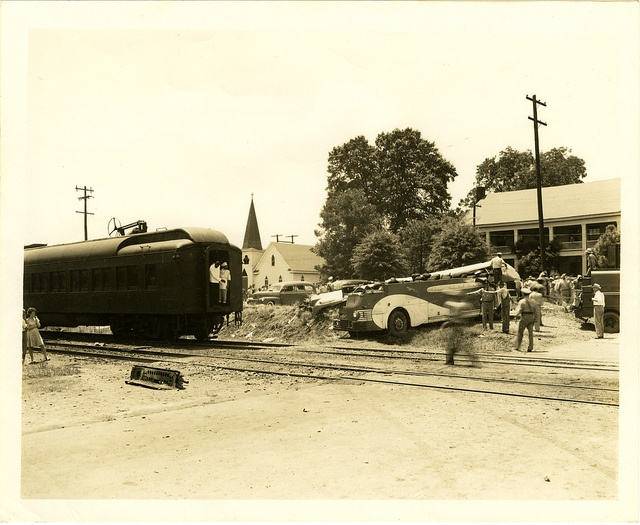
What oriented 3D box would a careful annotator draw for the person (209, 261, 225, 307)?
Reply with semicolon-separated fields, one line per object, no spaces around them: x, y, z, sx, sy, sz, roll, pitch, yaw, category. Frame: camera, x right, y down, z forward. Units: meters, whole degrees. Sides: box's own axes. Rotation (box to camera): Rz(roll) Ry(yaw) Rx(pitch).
-3.344;0.729;22.224;0.546;1.742;0.519;2;22;1;person

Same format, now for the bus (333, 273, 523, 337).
3.413;1.204;22.716;5.339;1.799;1.855;-8;5;-27;bus

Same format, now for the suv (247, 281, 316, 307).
-2.119;1.868;38.710;3.518;1.231;2.972;-3;7;-20;suv

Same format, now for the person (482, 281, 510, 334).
5.842;1.438;21.899;0.867;1.552;1.502;2;7;15;person

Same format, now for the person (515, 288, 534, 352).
5.828;1.773;18.721;0.486;1.641;0.820;2;7;18;person

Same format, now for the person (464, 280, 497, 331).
5.459;1.425;22.463;1.243;1.899;0.537;-4;-9;8;person

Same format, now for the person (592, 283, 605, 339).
9.053;1.578;21.438;0.389;1.622;1.166;3;7;23;person

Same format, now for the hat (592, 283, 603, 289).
9.126;0.807;21.613;0.218;0.069;0.236;16;5;12;hat

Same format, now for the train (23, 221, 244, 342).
-7.633;0.577;25.112;10.751;4.255;3.414;5;9;38;train
